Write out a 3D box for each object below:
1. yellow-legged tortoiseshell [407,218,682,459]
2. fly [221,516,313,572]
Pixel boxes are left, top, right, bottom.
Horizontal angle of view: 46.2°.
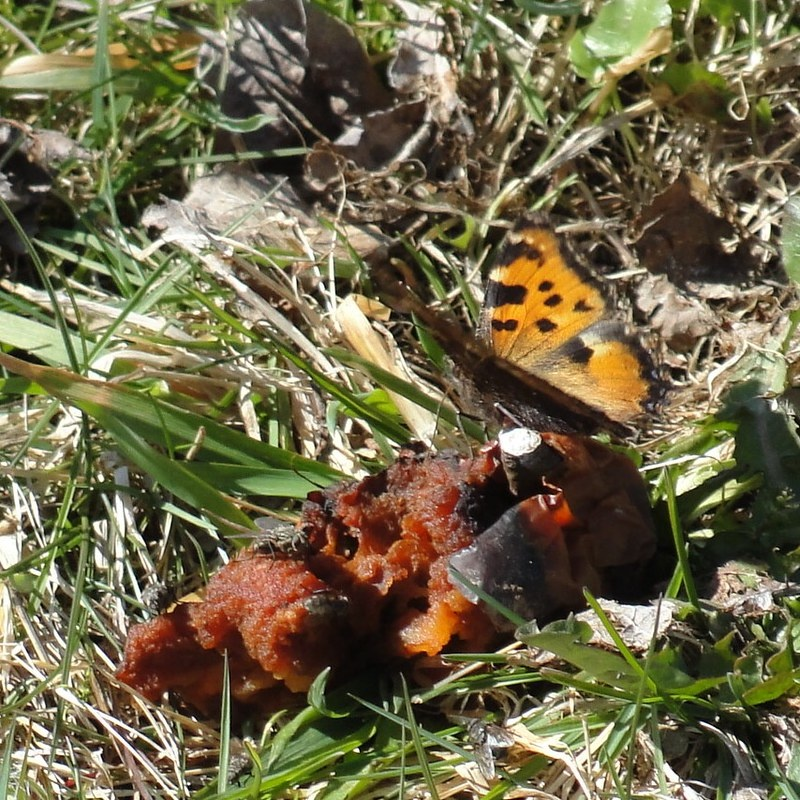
[{"bbox_3d":[0.268,-0.095,1.765,0.548,0.312,0.507,7,29,29],"label":"yellow-legged tortoiseshell"},{"bbox_3d":[-0.237,0.260,1.697,0.122,0.027,0.098,0,23,19],"label":"fly"}]
